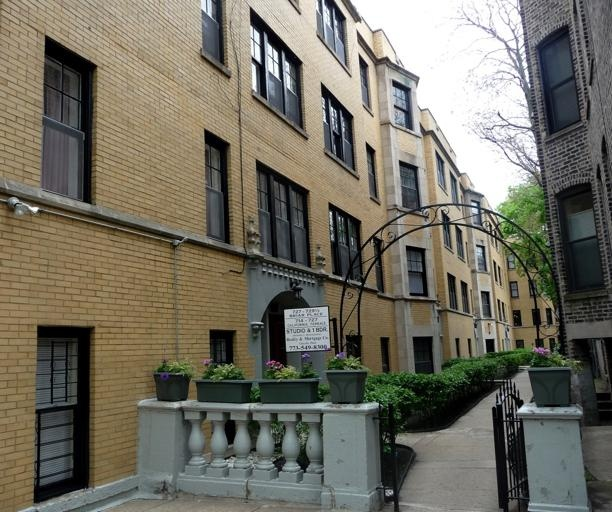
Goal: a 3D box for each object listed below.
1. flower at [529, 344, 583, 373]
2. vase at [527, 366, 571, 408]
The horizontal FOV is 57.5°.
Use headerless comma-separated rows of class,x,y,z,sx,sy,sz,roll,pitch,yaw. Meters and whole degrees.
flower,3.370,1.393,7.599,0.781,0.394,0.752,0,-4,10
vase,3.025,1.598,6.906,0.601,0.460,0.461,0,-20,13
